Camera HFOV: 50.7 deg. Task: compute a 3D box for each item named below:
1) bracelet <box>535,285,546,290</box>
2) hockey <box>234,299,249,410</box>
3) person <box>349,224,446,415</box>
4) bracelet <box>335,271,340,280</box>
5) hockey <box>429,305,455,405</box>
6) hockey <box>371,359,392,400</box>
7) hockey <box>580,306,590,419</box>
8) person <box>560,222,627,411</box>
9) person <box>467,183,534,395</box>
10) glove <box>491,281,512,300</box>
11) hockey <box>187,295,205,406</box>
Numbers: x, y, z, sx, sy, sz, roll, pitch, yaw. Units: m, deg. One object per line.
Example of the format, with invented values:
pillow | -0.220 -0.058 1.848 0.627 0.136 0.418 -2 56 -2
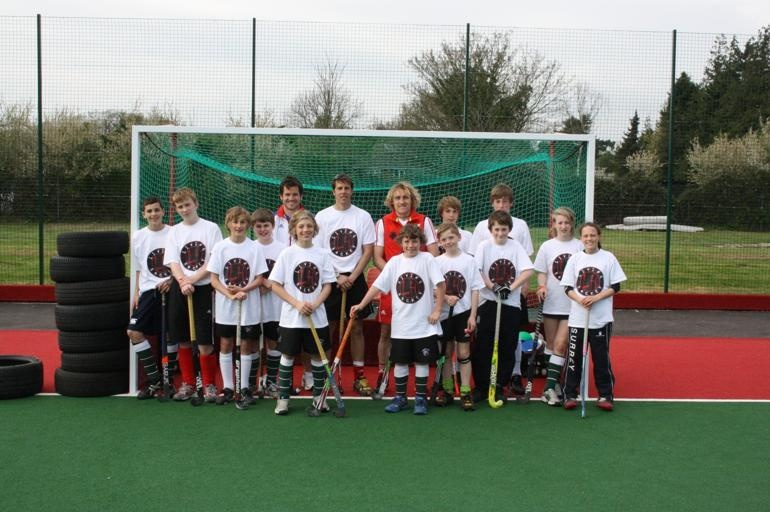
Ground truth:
bracelet | 1.829 0.350 9.480 0.078 0.056 0.055 9 -16 -7
hockey | -1.637 1.075 9.131 0.142 1.208 0.355 -2 4 -27
person | 0.241 0.688 9.081 0.833 2.088 0.377 0 3 3
bracelet | -0.558 0.226 9.438 0.072 0.085 0.061 1 12 -37
hockey | 0.647 1.182 9.265 0.183 1.345 0.153 2 5 -31
hockey | -0.043 1.477 9.646 0.130 0.422 0.415 11 -16 14
hockey | 2.236 1.167 9.098 0.082 1.170 0.509 1 4 14
person | 2.331 0.662 9.194 0.658 2.097 0.589 2 4 27
person | 1.427 0.367 10.005 0.597 1.876 0.506 3 34 12
glove | 1.334 0.409 9.297 0.202 0.171 0.111 0 3 2
hockey | -2.158 1.066 9.187 0.198 1.250 0.127 -2 13 2
